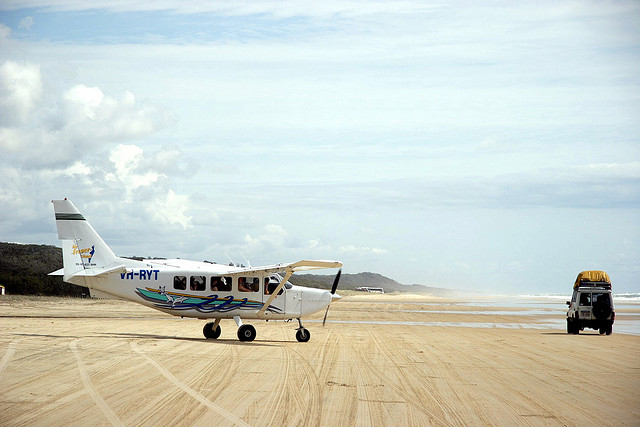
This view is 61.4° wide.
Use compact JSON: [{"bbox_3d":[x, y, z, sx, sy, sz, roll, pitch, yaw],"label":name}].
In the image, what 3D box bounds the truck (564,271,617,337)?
[{"bbox_3d":[14.905,4.939,29.395,2.061,2.642,1.149,5,-2,17],"label":"truck"}]
